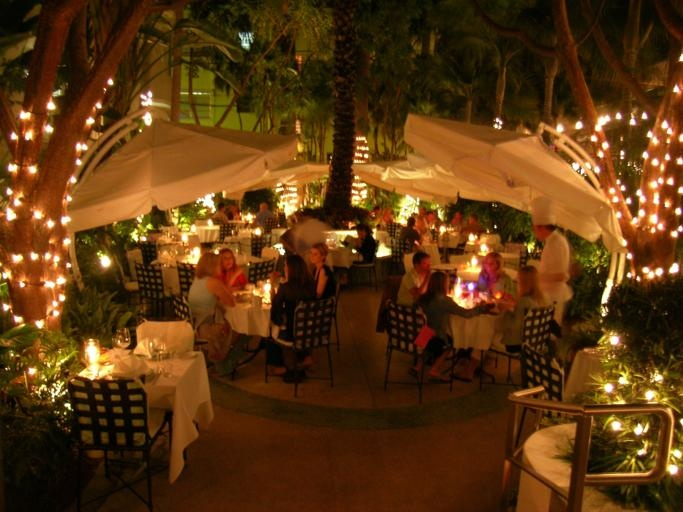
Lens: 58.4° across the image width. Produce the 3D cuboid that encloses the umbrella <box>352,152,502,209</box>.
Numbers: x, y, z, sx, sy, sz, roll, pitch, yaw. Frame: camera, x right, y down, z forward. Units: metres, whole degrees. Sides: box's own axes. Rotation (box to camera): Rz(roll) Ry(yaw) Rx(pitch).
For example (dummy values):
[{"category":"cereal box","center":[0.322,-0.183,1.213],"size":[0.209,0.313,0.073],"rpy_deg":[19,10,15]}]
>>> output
[{"category":"umbrella","center":[2.139,-1.921,16.677],"size":[2.242,0.804,2.394],"rpy_deg":[23,-7,-32]}]

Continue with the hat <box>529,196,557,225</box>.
[{"category":"hat","center":[2.793,-0.630,8.656],"size":[0.312,0.379,0.372],"rpy_deg":[-2,2,-11]}]

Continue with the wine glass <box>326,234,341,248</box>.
[{"category":"wine glass","center":[-0.215,-0.376,14.912],"size":[0.337,0.383,0.334],"rpy_deg":[-4,7,-44]}]

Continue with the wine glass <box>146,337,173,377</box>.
[{"category":"wine glass","center":[-2.005,1.088,6.707],"size":[0.240,0.224,0.588],"rpy_deg":[-4,14,-18]}]
